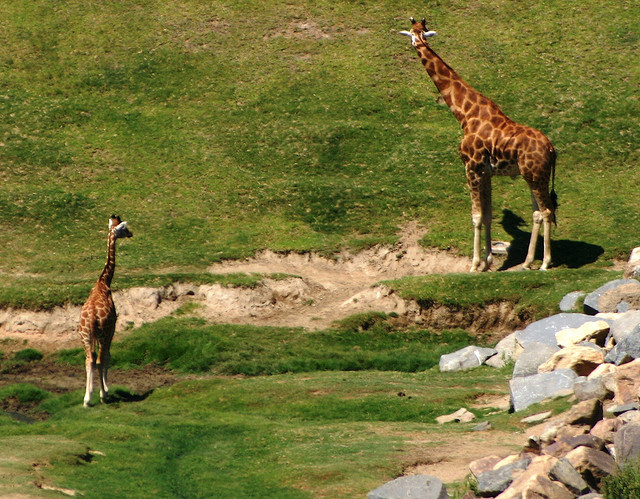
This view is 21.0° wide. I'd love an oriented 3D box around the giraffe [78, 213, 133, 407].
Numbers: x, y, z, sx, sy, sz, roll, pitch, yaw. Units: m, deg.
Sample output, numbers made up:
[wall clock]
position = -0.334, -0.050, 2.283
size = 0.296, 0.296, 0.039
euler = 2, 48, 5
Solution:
[giraffe]
position = -10.712, 2.994, 84.135
size = 1.327, 7.755, 2.768
euler = -6, -2, 33
